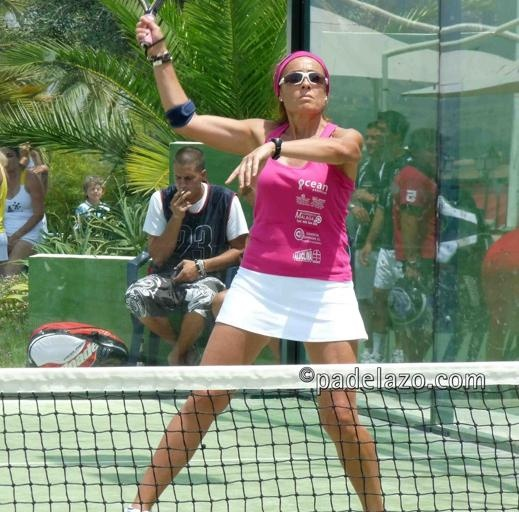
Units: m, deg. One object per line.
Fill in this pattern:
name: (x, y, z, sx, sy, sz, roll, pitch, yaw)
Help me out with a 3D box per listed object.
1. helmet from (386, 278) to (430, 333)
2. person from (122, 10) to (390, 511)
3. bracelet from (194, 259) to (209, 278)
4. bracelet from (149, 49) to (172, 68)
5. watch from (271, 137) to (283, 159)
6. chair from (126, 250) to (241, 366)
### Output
helmet: (1.058, 0.334, 6.612, 0.255, 0.339, 0.261, -13, -19, 12)
person: (0.006, 0.045, 4.390, 1.123, 2.125, 0.810, 0, 13, 0)
bracelet: (-0.429, 0.077, 6.859, 0.085, 0.119, 0.131, -8, -14, 1)
bracelet: (-0.466, -0.945, 4.454, 0.101, 0.073, 0.112, -10, -9, -2)
watch: (0.075, -0.485, 4.225, 0.057, 0.093, 0.085, 3, 12, -2)
chair: (-0.591, 0.207, 7.175, 0.884, 1.195, 0.693, 0, -5, 2)
